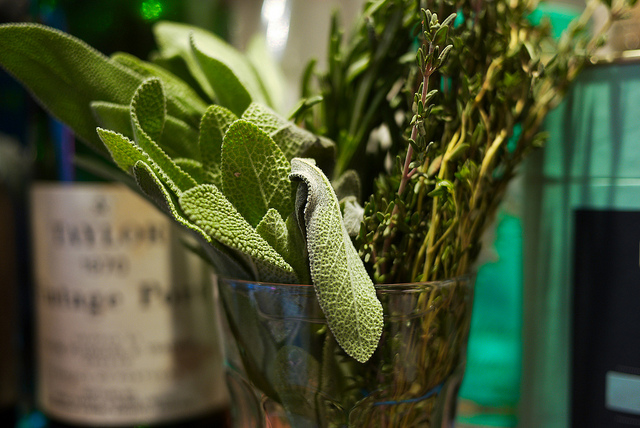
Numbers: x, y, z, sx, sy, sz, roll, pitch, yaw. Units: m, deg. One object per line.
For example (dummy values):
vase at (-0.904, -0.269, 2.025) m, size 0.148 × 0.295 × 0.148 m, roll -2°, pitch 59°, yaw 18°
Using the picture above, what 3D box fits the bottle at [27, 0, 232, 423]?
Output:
bottle at (-0.168, -0.007, 0.573) m, size 0.159 × 0.408 × 0.260 m, roll 1°, pitch -2°, yaw -41°
